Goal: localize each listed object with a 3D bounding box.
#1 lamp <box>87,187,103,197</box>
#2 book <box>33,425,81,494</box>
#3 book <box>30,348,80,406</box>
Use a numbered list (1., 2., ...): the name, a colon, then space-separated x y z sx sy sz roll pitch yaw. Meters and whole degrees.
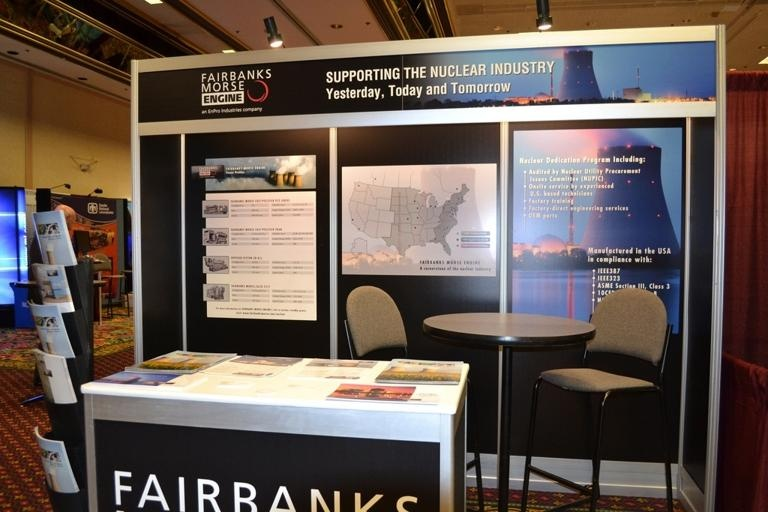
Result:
1. lamp: -5.773 -1.277 12.044 0.375 0.179 0.215 -10 12 -40
2. book: -2.168 1.370 3.921 0.337 0.377 0.127 1 4 33
3. book: -2.188 0.806 3.972 0.344 0.361 0.096 0 3 21
